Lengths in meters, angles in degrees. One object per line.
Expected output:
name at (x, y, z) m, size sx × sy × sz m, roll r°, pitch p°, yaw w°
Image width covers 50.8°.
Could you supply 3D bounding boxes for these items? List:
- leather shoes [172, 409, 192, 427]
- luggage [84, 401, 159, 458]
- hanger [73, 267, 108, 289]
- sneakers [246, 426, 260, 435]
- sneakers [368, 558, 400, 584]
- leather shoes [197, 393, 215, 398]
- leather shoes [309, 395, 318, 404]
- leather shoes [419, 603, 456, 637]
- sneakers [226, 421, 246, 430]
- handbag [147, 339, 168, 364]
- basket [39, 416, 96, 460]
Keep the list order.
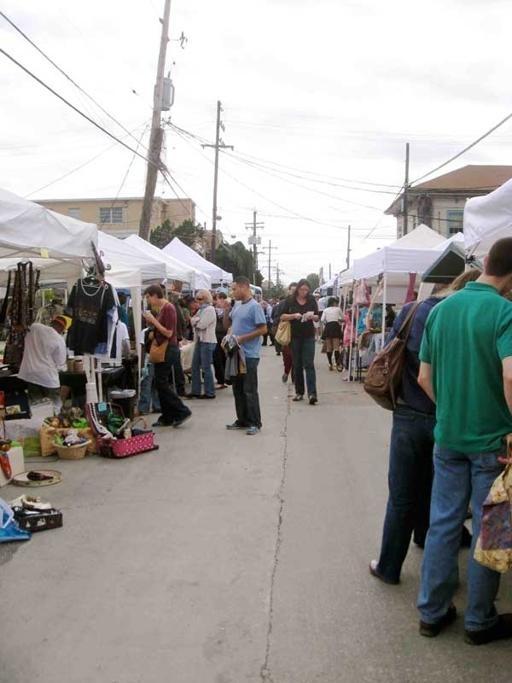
leather shoes at (-1.075, 1.085, 7.659) m, size 0.315 × 0.226 × 0.108 m, roll -42°, pitch -22°, yaw 28°
luggage at (-1.613, 1.007, 6.306) m, size 0.738 × 0.564 × 0.546 m, roll -2°, pitch 2°, yaw 34°
hanger at (-2.012, -0.755, 6.693) m, size 0.261 × 0.178 × 0.342 m, roll 7°, pitch 15°, yaw 1°
sneakers at (-0.037, 1.193, 7.163) m, size 0.199 × 0.082 × 0.199 m, roll -1°, pitch 1°, yaw -10°
sneakers at (0.740, 1.316, 3.099) m, size 0.066 × 0.078 × 0.178 m, roll -7°, pitch 17°, yaw -23°
leather shoes at (-0.948, 1.072, 10.422) m, size 0.284 × 0.122 × 0.105 m, roll 5°, pitch -4°, yaw -4°
leather shoes at (0.989, 1.012, 9.313) m, size 0.074 × 0.081 × 0.190 m, roll -5°, pitch -33°, yaw -5°
leather shoes at (0.856, 1.301, 2.528) m, size 0.083 × 0.097 × 0.224 m, roll 7°, pitch 19°, yaw 41°
sneakers at (-0.282, 1.180, 7.562) m, size 0.279 × 0.194 × 0.105 m, roll 2°, pitch -5°, yaw 3°
handbag at (-1.392, 0.143, 7.658) m, size 0.313 × 0.355 × 0.137 m, roll 5°, pitch 0°, yaw 31°
basket at (-2.168, 1.101, 6.201) m, size 0.610 × 0.419 × 0.470 m, roll 0°, pitch 2°, yaw 34°
